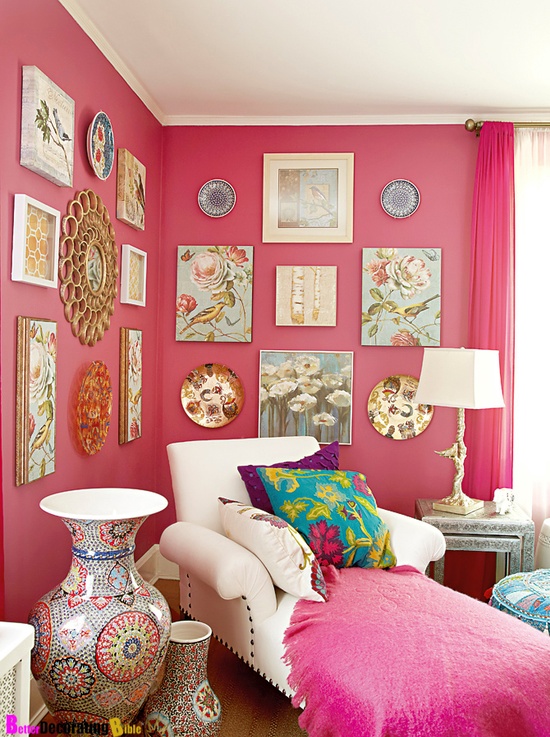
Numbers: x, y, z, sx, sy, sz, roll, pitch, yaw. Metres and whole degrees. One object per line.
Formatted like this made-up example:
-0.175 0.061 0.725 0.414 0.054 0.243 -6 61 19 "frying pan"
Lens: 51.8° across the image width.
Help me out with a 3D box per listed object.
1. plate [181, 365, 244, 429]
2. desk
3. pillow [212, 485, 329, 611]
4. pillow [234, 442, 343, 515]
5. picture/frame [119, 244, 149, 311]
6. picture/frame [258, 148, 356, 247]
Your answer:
-0.345 0.152 3.107 0.337 0.323 0.042 1 0 10 "plate"
0.883 0.695 2.492 0.354 0.593 0.434 0 -1 -1 "desk"
0.004 0.596 1.869 0.217 0.251 0.415 -3 3 -15 "pillow"
0.076 0.473 2.248 0.400 0.250 0.112 -5 -3 -25 "pillow"
-0.687 -0.446 2.780 0.028 0.268 0.265 9 6 -20 "picture/frame"
0.190 -0.922 3.044 0.502 0.527 0.035 0 -2 1 "picture/frame"
